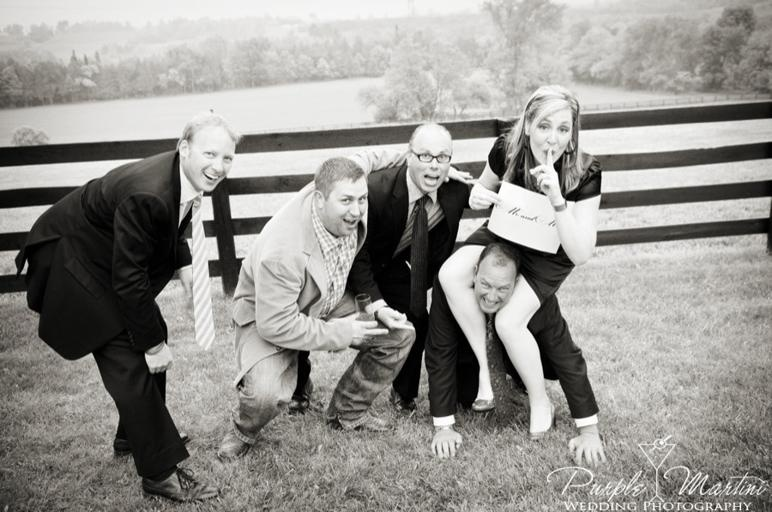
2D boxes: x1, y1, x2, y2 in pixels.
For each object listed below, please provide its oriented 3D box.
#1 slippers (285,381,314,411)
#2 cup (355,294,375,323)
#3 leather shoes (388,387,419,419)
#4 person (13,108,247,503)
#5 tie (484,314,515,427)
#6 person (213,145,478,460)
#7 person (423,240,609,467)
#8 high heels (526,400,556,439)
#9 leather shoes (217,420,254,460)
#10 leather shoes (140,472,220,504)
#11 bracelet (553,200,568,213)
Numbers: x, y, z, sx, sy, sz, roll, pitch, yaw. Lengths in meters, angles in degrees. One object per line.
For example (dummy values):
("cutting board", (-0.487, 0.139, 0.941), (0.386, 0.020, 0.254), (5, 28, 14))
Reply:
("slippers", (-0.695, 1.131, 6.079), (0.169, 0.226, 0.227), (0, -5, 6))
("cup", (-0.170, 0.380, 5.599), (0.156, 0.263, 0.159), (-2, -2, 0))
("leather shoes", (0.125, 1.148, 6.061), (0.290, 0.213, 0.113), (18, 26, 42))
("person", (-1.772, 0.390, 5.282), (1.488, 2.467, 0.954), (-7, 21, -13))
("tie", (0.843, 0.893, 5.804), (0.175, 0.875, 0.139), (-7, 3, -24))
("person", (-0.278, 0.449, 5.821), (0.915, 1.579, 1.749), (19, 36, 27))
("person", (0.796, 0.595, 5.646), (1.119, 1.213, 1.693), (-9, 23, -4))
("high heels", (1.173, 1.233, 5.686), (0.120, 0.146, 0.350), (-8, 20, 31))
("leather shoes", (-1.104, 1.383, 5.643), (0.165, 0.145, 0.335), (30, 33, 9))
("leather shoes", (-1.421, 1.610, 5.362), (0.557, 0.254, 0.217), (1, 2, -6))
("bracelet", (1.258, -0.363, 5.471), (0.088, 0.082, 0.093), (-12, 7, -8))
